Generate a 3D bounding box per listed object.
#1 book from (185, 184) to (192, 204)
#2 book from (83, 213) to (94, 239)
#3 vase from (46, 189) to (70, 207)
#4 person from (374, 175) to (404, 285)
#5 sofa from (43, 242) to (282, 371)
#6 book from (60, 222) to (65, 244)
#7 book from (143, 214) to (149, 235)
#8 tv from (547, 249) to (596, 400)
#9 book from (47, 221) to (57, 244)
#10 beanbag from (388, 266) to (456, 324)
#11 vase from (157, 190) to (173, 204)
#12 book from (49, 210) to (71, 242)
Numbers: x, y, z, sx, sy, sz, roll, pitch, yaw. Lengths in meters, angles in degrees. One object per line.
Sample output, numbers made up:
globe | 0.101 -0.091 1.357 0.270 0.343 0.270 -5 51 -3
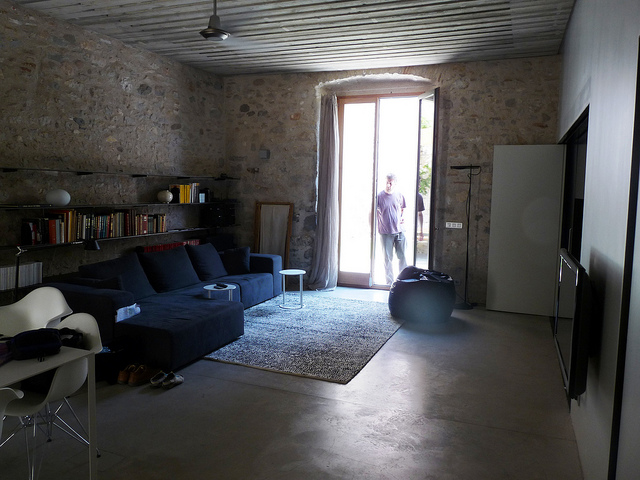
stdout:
book | -2.065 -0.726 7.033 0.055 0.235 0.234 5 5 9
book | -2.825 -0.157 5.469 0.048 0.289 0.042 8 -8 -42
vase | -2.954 -0.469 5.061 0.192 0.135 0.195 -2 -1 44
person | 1.230 -0.166 7.754 0.469 1.868 0.221 2 10 7
sofa | -1.575 0.629 5.981 1.791 0.989 3.442 5 11 25
book | -2.982 -0.084 5.182 0.032 0.231 0.073 0 10 -2
book | -2.442 -0.210 6.272 0.088 0.257 0.267 -2 5 -21
tv | 1.883 0.673 3.359 0.159 0.750 1.303 0 6 22
book | -3.041 -0.087 5.079 0.145 0.242 0.250 -1 3 -30
beanbag | 1.436 0.767 6.376 0.905 0.673 0.890 3 11 -14
vase | -2.268 -0.636 6.576 0.204 0.194 0.199 5 16 23
book | -3.000 -0.121 5.332 0.312 0.405 0.419 2 -3 -38
